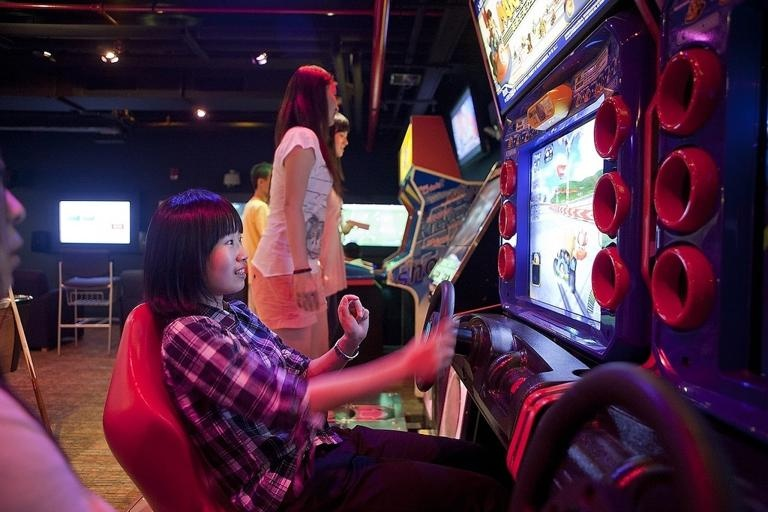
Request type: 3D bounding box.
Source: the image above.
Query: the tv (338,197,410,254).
[{"bbox_3d":[-0.137,-0.374,6.693,0.994,0.619,0.133,0,-33,-2],"label":"tv"}]
